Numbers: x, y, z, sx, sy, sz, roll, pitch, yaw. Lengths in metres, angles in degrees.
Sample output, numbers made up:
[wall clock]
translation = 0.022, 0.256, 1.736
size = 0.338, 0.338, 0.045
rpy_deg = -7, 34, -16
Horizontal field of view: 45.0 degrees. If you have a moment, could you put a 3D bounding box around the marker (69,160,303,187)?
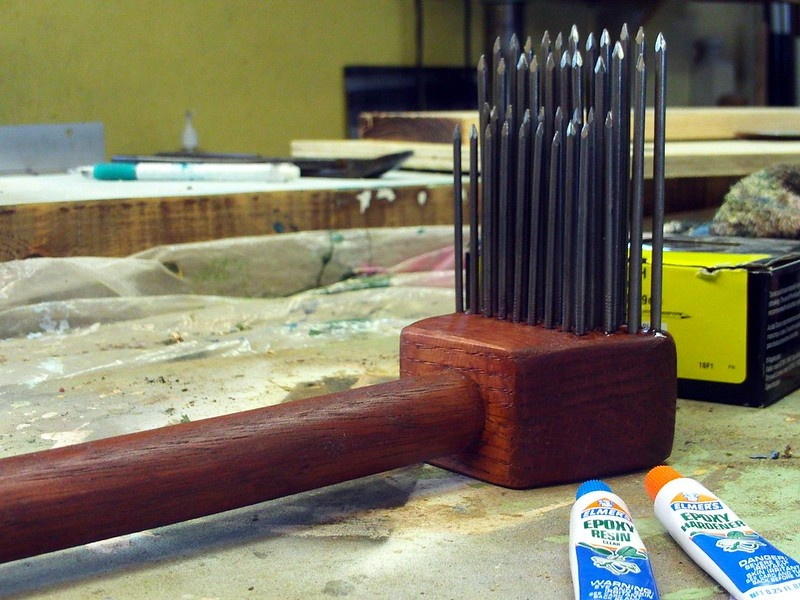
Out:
[marker]
translation = -0.188, -0.112, 0.867
size = 0.187, 0.019, 0.031
rpy_deg = -1, 9, 8
